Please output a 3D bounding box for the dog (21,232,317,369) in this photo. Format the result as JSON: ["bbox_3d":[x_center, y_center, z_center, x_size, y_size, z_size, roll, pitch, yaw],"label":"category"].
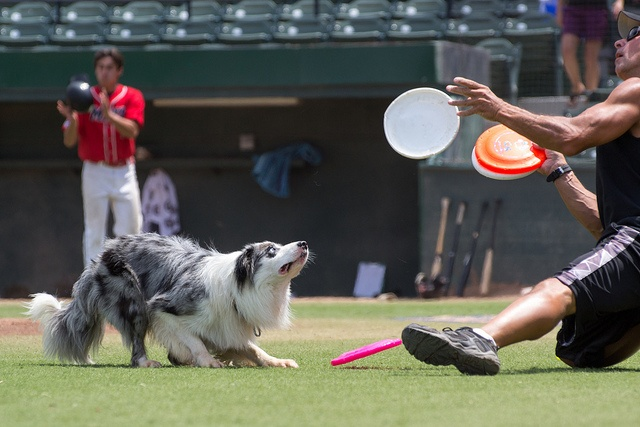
[{"bbox_3d":[-1.535,0.932,10.911,2.964,1.159,1.025,-2,-7,15],"label":"dog"}]
